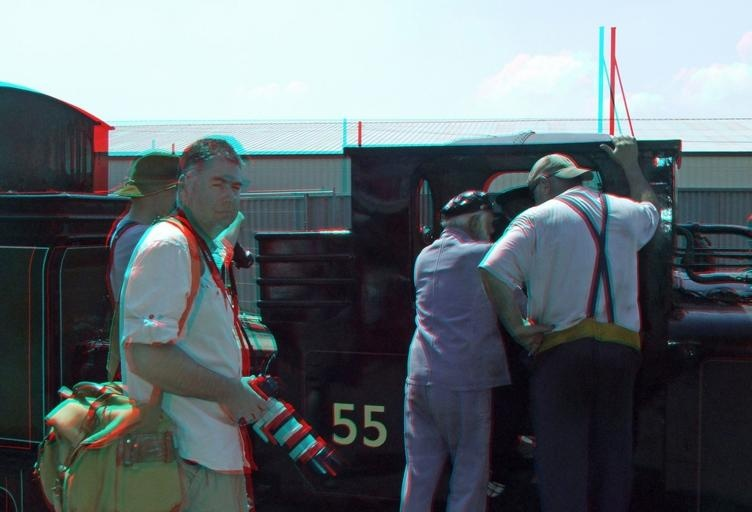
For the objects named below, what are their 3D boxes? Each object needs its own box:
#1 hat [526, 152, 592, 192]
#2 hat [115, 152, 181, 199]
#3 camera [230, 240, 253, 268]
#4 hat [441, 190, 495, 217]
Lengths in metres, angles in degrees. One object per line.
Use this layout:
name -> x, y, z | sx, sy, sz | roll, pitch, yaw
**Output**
hat -> 1.179, -0.570, 6.340 | 0.424, 0.251, 0.278 | -9, -6, 42
hat -> -1.512, -0.545, 6.532 | 0.397, 0.317, 0.545 | 0, 4, 39
camera -> -1.016, -0.035, 7.267 | 0.148, 0.219, 0.094 | 1, -21, -31
hat -> 0.634, -0.343, 6.388 | 0.258, 0.108, 0.185 | 3, -9, -42
